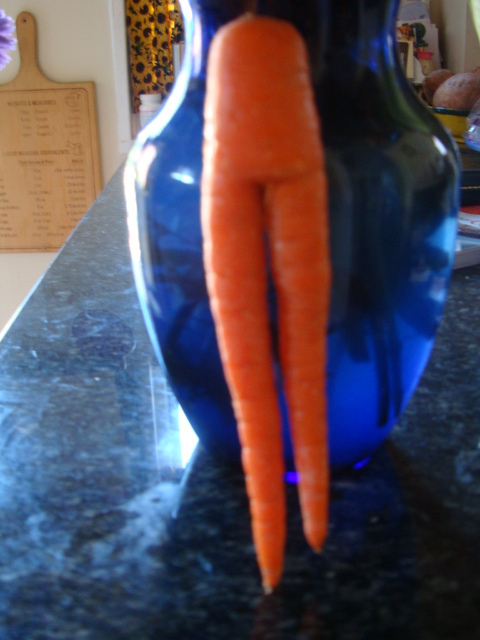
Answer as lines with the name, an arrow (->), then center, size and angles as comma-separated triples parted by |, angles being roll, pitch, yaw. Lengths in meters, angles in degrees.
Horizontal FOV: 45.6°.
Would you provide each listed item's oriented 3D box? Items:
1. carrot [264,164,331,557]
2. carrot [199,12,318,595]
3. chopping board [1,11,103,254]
carrot -> 0.035, 0.021, 0.224 | 0.024, 0.152, 0.023 | -1, 18, 25
carrot -> 0.008, -0.003, 0.237 | 0.047, 0.213, 0.043 | -11, 9, -29
chopping board -> -0.984, -0.859, 2.778 | 0.633, 1.089, 0.256 | -7, 19, -5
